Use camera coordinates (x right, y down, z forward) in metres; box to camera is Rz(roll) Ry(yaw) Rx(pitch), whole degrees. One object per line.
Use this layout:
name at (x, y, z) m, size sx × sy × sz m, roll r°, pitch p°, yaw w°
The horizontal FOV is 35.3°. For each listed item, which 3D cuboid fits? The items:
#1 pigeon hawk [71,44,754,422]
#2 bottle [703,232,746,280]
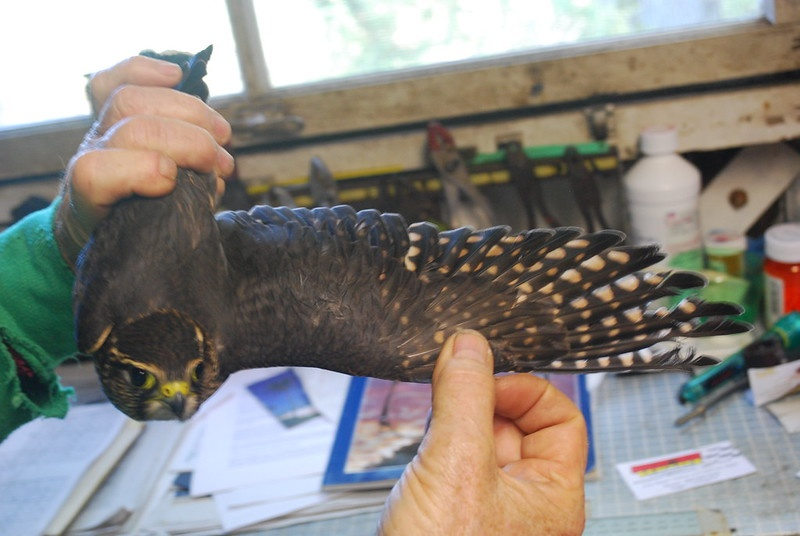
pigeon hawk at (-0.002, 0.003, 1.324) m, size 0.689 × 0.284 × 0.187 m, roll -11°, pitch 36°, yaw 2°
bottle at (0.443, -0.023, 1.698) m, size 0.071 × 0.056 × 0.060 m, roll -9°, pitch 24°, yaw 7°
